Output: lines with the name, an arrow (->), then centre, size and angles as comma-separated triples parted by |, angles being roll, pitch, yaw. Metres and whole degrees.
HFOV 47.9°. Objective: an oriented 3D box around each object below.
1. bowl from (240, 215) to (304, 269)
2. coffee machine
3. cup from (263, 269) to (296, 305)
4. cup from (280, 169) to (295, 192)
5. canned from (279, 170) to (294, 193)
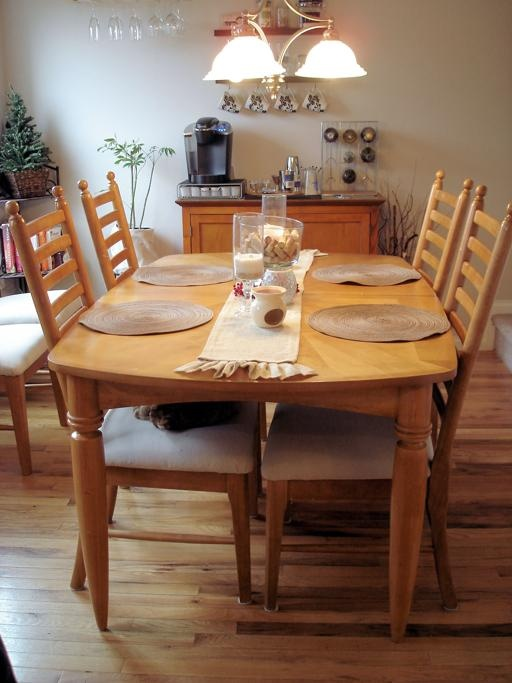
bowl -> 0.040, -0.264, 1.516 | 0.155, 0.098, 0.173 | 7, 15, 22
coffee machine -> -0.255, -1.055, 3.300 | 0.368, 0.422, 0.289 | 2, 28, 0
cup -> 0.070, -0.157, 1.620 | 0.090, 0.094, 0.103 | -3, 20, -2
cup -> 0.177, -0.941, 3.381 | 0.129, 0.126, 0.119 | 0, 19, 0
canned -> 0.186, -0.945, 3.382 | 0.136, 0.136, 0.125 | 0, 19, -1
